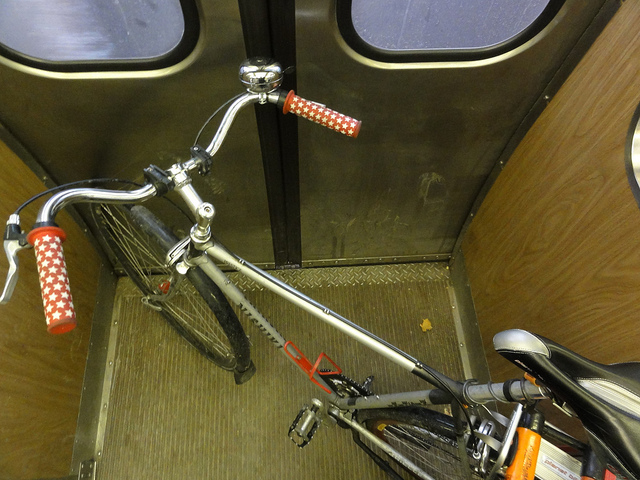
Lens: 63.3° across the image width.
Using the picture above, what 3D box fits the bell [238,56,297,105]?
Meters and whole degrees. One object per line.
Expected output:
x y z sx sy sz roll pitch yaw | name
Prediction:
-0.227 -0.673 2.215 0.207 0.172 0.175 -24 60 -15 | bell
